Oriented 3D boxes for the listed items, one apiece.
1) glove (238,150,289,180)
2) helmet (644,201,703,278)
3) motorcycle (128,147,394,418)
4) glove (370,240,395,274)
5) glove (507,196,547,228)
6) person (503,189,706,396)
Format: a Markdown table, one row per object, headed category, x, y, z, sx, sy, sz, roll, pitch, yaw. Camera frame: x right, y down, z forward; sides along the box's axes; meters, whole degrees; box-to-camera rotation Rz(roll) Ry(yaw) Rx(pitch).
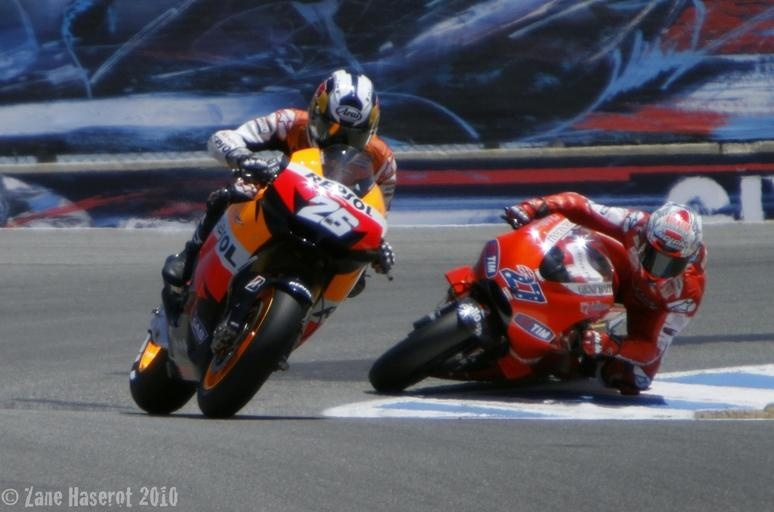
| category | x | y | z | sx | sy | sz | roll | pitch | yaw |
| --- | --- | --- | --- | --- | --- | --- | --- | --- | --- |
| glove | -0.839 | -0.569 | 6.461 | 0.306 | 0.121 | 0.266 | -10 | 29 | 15 |
| helmet | 2.136 | -0.107 | 7.067 | 0.427 | 0.556 | 0.288 | 5 | 11 | 10 |
| motorcycle | -0.874 | 0.242 | 6.550 | 1.669 | 2.054 | 0.941 | 3 | 11 | -3 |
| glove | -0.014 | 0.015 | 6.519 | 0.106 | 0.157 | 0.242 | -19 | -1 | -15 |
| glove | 1.126 | -0.342 | 7.438 | 0.332 | 0.193 | 0.126 | -21 | -13 | -11 |
| person | 1.912 | 0.210 | 7.959 | 1.238 | 0.912 | 2.087 | 9 | 2 | 8 |
